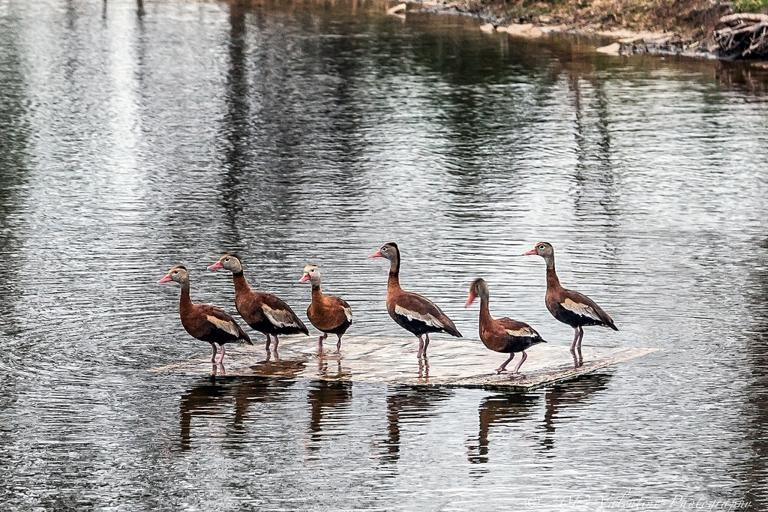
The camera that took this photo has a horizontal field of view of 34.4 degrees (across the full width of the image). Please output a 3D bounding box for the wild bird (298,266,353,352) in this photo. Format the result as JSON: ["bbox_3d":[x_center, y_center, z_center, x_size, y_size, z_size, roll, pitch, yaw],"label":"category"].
[{"bbox_3d":[-1.281,1.030,26.805,1.064,1.974,1.435,1,21,-4],"label":"wild bird"}]

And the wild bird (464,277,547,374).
[{"bbox_3d":[2.441,1.426,25.343,1.151,1.835,1.058,-2,23,-10],"label":"wild bird"}]
